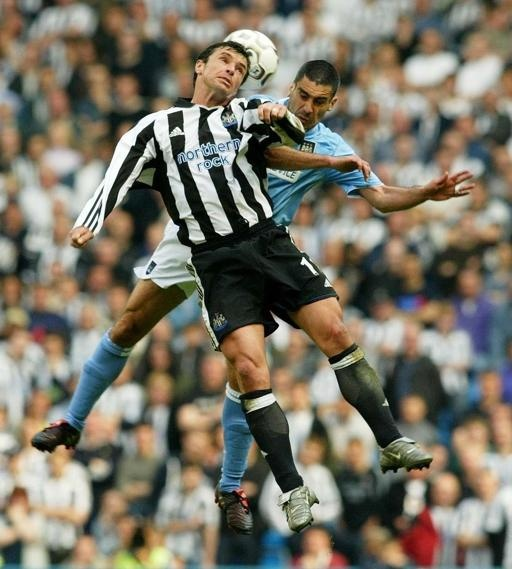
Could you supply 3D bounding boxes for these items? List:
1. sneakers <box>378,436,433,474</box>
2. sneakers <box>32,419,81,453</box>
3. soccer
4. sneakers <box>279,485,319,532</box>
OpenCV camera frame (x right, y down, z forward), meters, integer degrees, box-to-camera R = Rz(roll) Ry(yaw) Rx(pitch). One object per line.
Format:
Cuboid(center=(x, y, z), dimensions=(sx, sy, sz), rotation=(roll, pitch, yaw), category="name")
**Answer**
Cuboid(center=(0.804, 0.899, 4.516), dimensions=(0.185, 0.155, 0.326), rotation=(4, -14, -34), category="sneakers")
Cuboid(center=(-1.219, 0.930, 5.257), dimensions=(0.144, 0.177, 0.380), rotation=(-2, -9, 33), category="sneakers")
Cuboid(center=(-0.017, -1.521, 5.759), dimensions=(0.312, 0.399, 0.538), rotation=(-7, 35, 1), category="soccer")
Cuboid(center=(0.221, 1.134, 4.379), dimensions=(0.203, 0.102, 0.312), rotation=(-1, 13, -3), category="sneakers")
